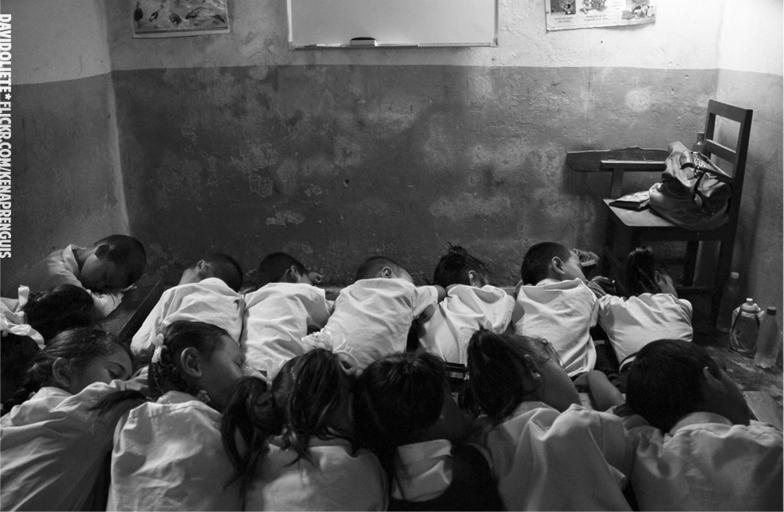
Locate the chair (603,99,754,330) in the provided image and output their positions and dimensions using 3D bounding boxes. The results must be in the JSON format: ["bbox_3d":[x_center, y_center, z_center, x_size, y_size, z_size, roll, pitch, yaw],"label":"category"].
[{"bbox_3d":[1.971,-0.323,3.988,0.775,1.431,0.895,-4,20,3],"label":"chair"}]

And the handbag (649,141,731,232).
[{"bbox_3d":[1.909,-0.465,3.702,0.419,0.219,0.542,-38,45,-6],"label":"handbag"}]

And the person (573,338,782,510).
[{"bbox_3d":[1.311,0.740,2.510,0.727,0.634,0.588,4,9,22],"label":"person"}]

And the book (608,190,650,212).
[{"bbox_3d":[1.656,-0.380,3.901,0.195,0.050,0.191,3,21,38],"label":"book"}]
